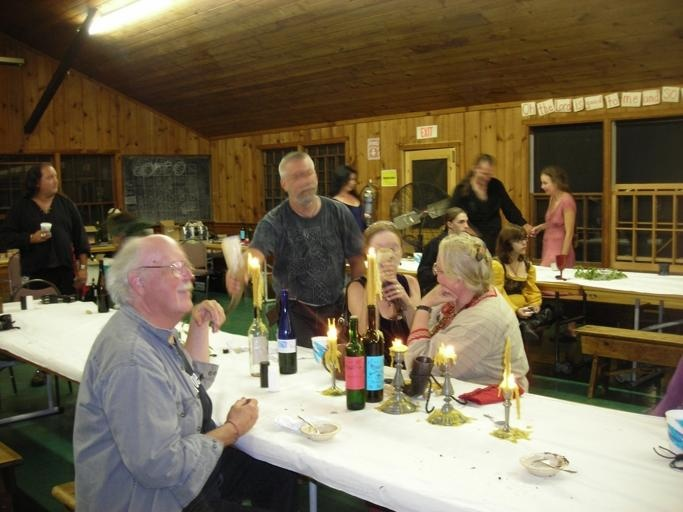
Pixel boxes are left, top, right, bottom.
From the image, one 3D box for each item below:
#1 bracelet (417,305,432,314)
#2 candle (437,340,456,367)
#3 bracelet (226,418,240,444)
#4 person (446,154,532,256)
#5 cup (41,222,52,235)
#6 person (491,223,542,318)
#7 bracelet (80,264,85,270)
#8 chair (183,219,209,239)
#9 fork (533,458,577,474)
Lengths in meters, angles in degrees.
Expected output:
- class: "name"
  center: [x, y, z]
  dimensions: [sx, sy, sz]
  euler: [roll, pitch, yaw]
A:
- class: "bracelet"
  center: [0.400, 0.262, 2.625]
  dimensions: [0.051, 0.037, 0.055]
  euler: [6, -28, 7]
- class: "candle"
  center: [0.405, 0.385, 2.129]
  dimensions: [0.099, 0.100, 0.102]
  euler: [1, -6, -2]
- class: "bracelet"
  center: [-0.390, 0.634, 1.955]
  dimensions: [0.020, 0.064, 0.066]
  euler: [-23, 2, -20]
- class: "person"
  center: [1.470, -0.235, 5.531]
  dimensions: [0.893, 1.447, 0.540]
  euler: [-7, 24, -5]
- class: "cup"
  center: [-2.769, -0.249, 5.033]
  dimensions: [0.110, 0.099, 0.117]
  euler: [-1, -6, 0]
- class: "person"
  center: [1.531, 0.151, 4.794]
  dimensions: [0.459, 0.786, 0.475]
  euler: [-2, 8, -36]
- class: "bracelet"
  center: [-2.440, 0.111, 5.089]
  dimensions: [0.043, 0.032, 0.044]
  euler: [3, 4, 22]
- class: "chair"
  center: [-2.665, -0.472, 9.781]
  dimensions: [0.391, 0.259, 0.382]
  euler: [-2, 4, -12]
- class: "fork"
  center: [0.673, 0.653, 1.682]
  dimensions: [0.109, 0.032, 0.068]
  euler: [-4, 9, -13]
